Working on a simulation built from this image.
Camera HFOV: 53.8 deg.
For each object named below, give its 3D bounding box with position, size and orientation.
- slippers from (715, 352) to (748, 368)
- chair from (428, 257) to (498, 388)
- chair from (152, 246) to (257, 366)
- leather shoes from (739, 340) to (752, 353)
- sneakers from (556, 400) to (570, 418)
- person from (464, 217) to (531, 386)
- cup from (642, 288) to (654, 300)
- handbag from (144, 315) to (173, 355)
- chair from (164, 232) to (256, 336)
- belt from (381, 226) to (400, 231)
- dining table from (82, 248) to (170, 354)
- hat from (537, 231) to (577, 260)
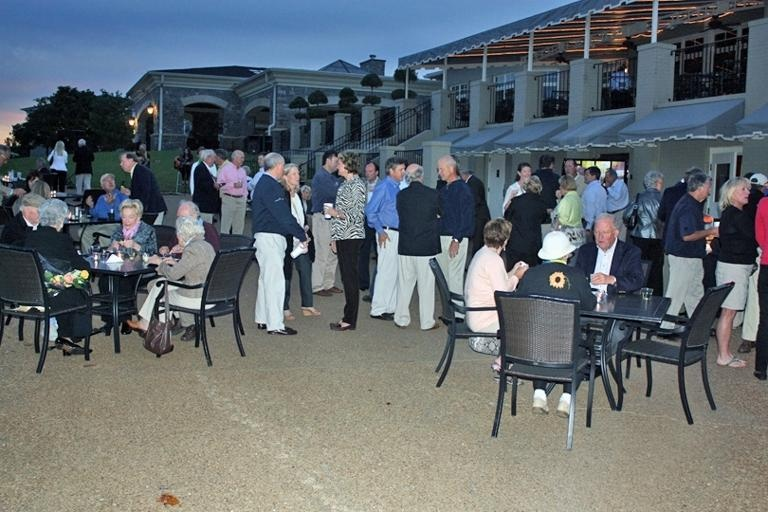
[{"bbox_3d":[4.465,1.344,9.743,0.320,0.141,0.170,-4,26,9],"label":"slippers"},{"bbox_3d":[0.857,0.715,9.693,1.272,1.789,1.238,-2,7,1],"label":"chair"},{"bbox_3d":[-2.329,0.538,9.878,1.086,1.446,0.968,11,11,39],"label":"chair"},{"bbox_3d":[4.861,1.225,10.187,0.093,0.112,0.275,1,5,40],"label":"leather shoes"},{"bbox_3d":[1.934,1.645,8.174,0.076,0.239,0.104,15,29,25],"label":"sneakers"},{"bbox_3d":[1.375,0.511,9.220,0.894,1.927,0.769,-7,13,-21],"label":"person"},{"bbox_3d":[3.040,0.429,8.767,0.118,0.105,0.131,1,-2,-31],"label":"cup"},{"bbox_3d":[-2.829,1.019,9.408,0.335,0.533,0.241,-2,10,-7],"label":"handbag"},{"bbox_3d":[-2.356,0.479,9.949,1.064,1.393,0.996,16,13,40],"label":"chair"},{"bbox_3d":[0.084,-0.403,11.146,0.210,0.080,0.064,-2,10,-2],"label":"belt"},{"bbox_3d":[-3.805,0.656,9.835,1.367,1.085,1.404,-1,-10,21],"label":"dining table"},{"bbox_3d":[1.887,-0.146,8.233,0.345,0.197,0.325,-33,25,-32],"label":"hat"}]
